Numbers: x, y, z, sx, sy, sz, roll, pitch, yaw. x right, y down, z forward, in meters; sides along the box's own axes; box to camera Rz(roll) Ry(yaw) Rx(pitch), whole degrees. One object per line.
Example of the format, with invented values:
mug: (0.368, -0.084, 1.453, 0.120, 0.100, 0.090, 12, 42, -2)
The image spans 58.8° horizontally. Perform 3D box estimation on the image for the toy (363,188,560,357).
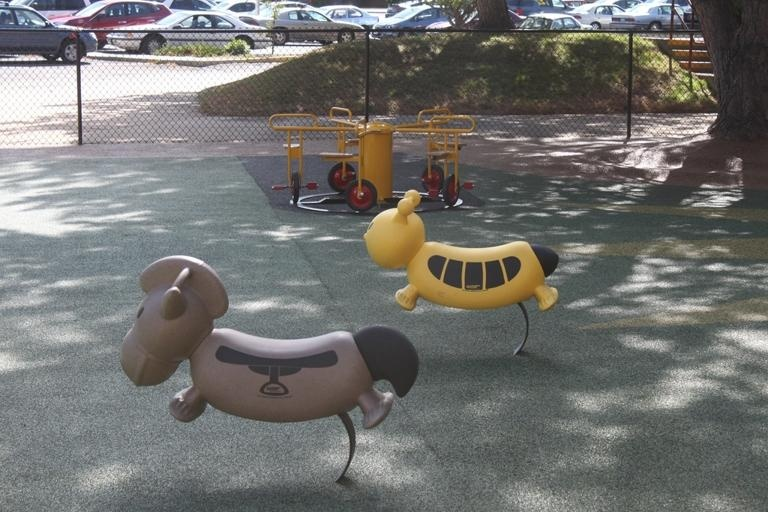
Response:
toy: (0.704, 0.097, 5.949, 1.885, 1.271, 0.733, 2, -4, 9)

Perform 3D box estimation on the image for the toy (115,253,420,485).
toy: (-0.761, 0.785, 4.458, 1.556, 1.006, 0.530, 1, -9, 0)
